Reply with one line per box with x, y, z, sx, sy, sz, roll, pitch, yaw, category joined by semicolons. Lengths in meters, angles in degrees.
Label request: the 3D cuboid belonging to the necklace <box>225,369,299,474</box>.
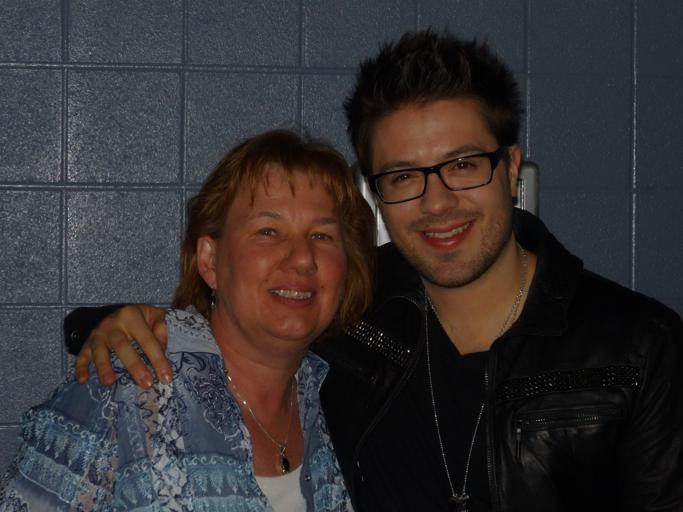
-0.289;0.611;2.827;0.215;0.062;0.393;-20;88;-50;necklace

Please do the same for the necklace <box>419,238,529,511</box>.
0.465;0.439;3.009;0.307;0.046;1.021;0;74;10;necklace
